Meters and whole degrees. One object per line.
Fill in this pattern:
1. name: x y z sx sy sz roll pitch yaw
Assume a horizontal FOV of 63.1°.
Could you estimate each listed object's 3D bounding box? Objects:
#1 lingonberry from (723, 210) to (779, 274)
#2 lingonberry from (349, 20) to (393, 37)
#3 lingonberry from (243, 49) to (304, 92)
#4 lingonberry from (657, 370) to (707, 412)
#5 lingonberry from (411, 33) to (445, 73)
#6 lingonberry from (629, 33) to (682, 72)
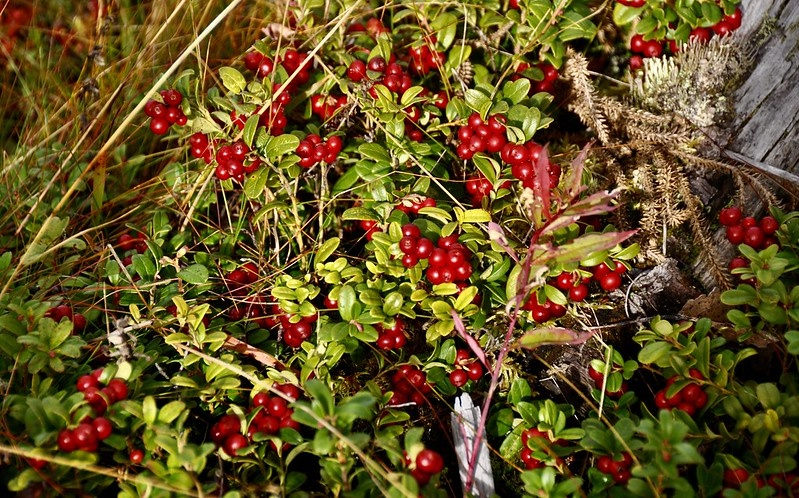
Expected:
1. lingonberry: 1.995 -0.110 3.744 0.282 0.249 0.327 -14 13 -42
2. lingonberry: -0.196 -1.491 4.387 0.260 0.115 0.157 -2 15 -3
3. lingonberry: -0.748 -1.164 4.078 0.301 0.306 0.104 36 -22 -12
4. lingonberry: 1.542 0.791 3.548 0.266 0.254 0.145 -2 10 20
5. lingonberry: 0.182 -1.274 4.215 0.239 0.241 0.110 1 17 3
6. lingonberry: 1.652 -1.329 4.327 0.228 0.082 0.235 -3 50 27
